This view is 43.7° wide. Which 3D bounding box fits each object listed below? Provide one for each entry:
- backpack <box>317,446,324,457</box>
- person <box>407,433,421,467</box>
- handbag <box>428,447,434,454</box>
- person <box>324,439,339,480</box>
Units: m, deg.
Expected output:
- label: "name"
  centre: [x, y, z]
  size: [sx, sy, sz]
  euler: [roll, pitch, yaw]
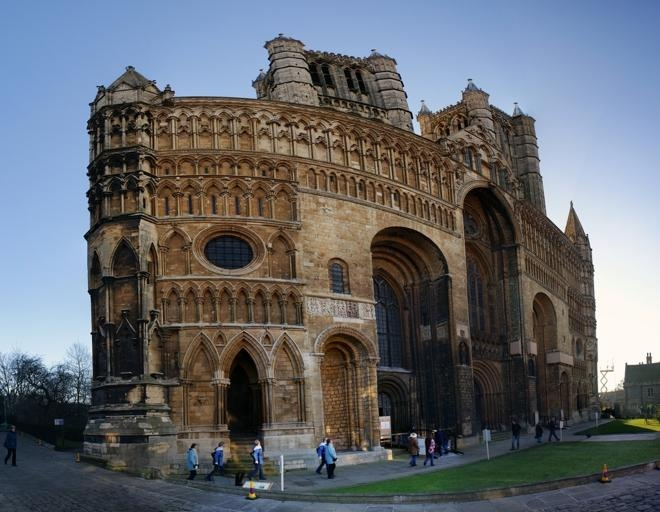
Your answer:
- label: "backpack"
  centre: [-0.415, 9.862, 41.205]
  size: [0.202, 0.758, 0.829]
  euler: [1, -16, -16]
- label: "person"
  centre: [4.554, 10.670, 45.039]
  size: [0.524, 1.798, 1.489]
  euler: [-5, -16, 4]
- label: "handbag"
  centre: [5.528, 10.598, 44.587]
  size: [0.092, 0.301, 0.245]
  euler: [8, -4, -38]
- label: "person"
  centre: [0.009, 10.151, 41.127]
  size: [0.546, 1.970, 1.215]
  euler: [-4, -16, 1]
